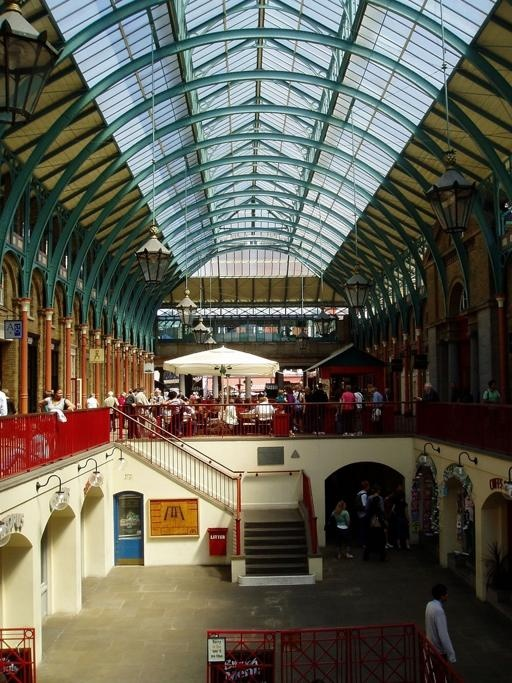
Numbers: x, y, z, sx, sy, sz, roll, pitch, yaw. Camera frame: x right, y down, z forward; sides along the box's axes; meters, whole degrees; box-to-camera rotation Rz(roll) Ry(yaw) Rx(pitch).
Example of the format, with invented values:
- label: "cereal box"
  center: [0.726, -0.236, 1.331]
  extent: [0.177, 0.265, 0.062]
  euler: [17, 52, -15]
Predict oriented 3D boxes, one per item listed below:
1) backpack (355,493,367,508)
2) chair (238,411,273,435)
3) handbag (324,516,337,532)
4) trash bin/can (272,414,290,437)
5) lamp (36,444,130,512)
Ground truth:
- label: "backpack"
  center: [3.162, 4.810, 20.059]
  extent: [0.344, 0.477, 0.538]
  euler: [-1, -7, 9]
- label: "chair"
  center: [-0.015, 2.790, 21.999]
  extent: [1.032, 0.836, 0.647]
  euler: [1, -9, -4]
- label: "handbag"
  center: [2.607, 6.561, 23.733]
  extent: [0.145, 0.660, 0.652]
  euler: [8, -12, 0]
- label: "trash bin/can"
  center: [0.795, 2.740, 21.710]
  extent: [0.556, 0.944, 0.624]
  euler: [-1, -4, 3]
- label: "lamp"
  center: [-3.728, 2.963, 14.396]
  extent: [0.441, 1.103, 3.376]
  euler: [-3, 7, 21]
